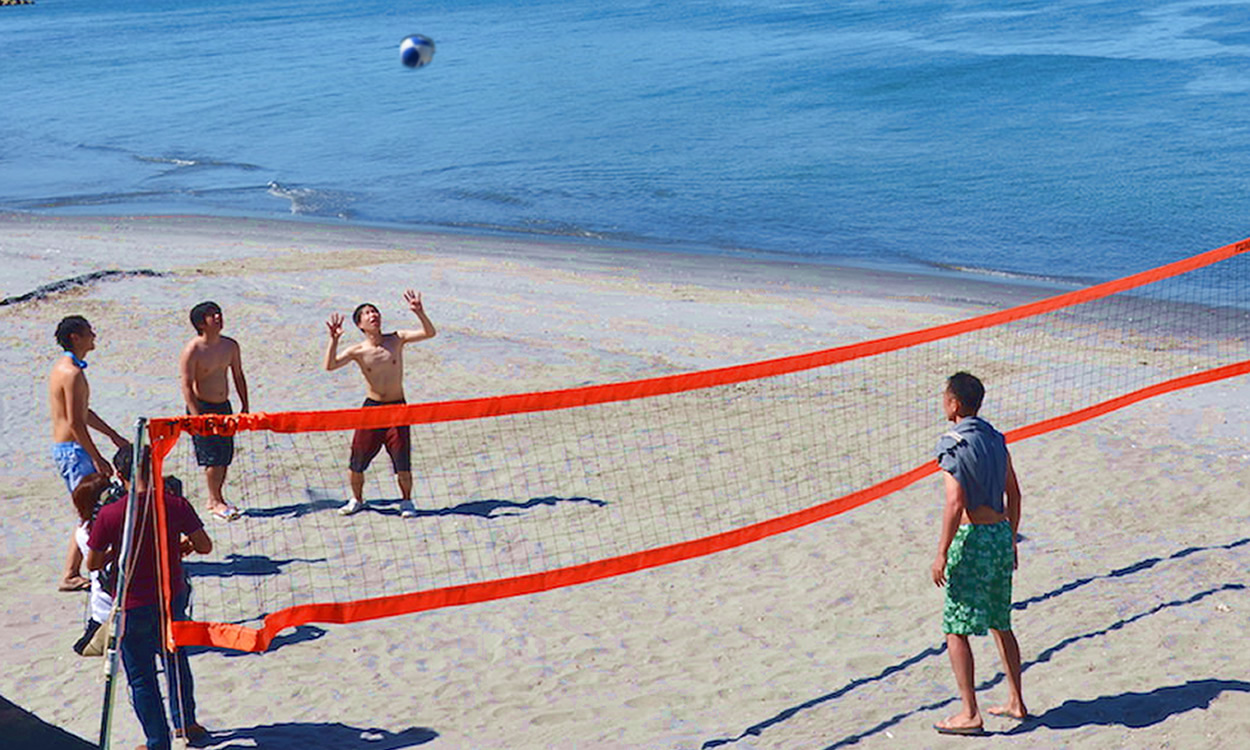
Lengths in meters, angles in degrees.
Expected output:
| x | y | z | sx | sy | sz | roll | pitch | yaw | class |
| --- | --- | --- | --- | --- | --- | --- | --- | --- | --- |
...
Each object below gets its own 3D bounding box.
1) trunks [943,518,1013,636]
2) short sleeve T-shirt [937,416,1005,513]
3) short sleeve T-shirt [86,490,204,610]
| x | y | z | sx | sy | sz | roll | pitch | yaw | class |
| --- | --- | --- | --- | --- | --- | --- | --- | --- | --- |
| 3.764 | 2.154 | 12.043 | 0.719 | 1.201 | 0.416 | 3 | 17 | 3 | trunks |
| 3.685 | 0.964 | 11.986 | 0.753 | 0.965 | 0.411 | 4 | 17 | 6 | short sleeve T-shirt |
| -4.928 | 1.854 | 12.229 | 1.485 | 1.083 | 0.701 | -8 | -3 | 8 | short sleeve T-shirt |
